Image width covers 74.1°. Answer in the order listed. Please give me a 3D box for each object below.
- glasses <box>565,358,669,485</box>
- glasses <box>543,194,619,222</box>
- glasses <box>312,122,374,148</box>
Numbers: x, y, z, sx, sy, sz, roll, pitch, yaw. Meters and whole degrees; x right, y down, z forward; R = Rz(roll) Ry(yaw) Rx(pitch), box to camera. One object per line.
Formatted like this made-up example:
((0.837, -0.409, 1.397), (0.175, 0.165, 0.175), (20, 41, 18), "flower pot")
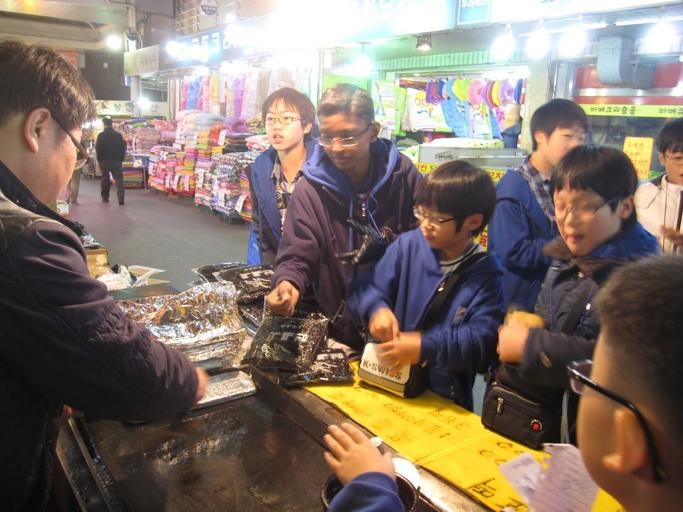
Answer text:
((0.422, 0.255, 0.727), (0.055, 0.111, 0.199), (-1, 13, -7), "glasses")
((0.809, -0.160, 1.510), (0.203, 0.062, 0.193), (-9, 3, -28), "glasses")
((0.019, -0.537, 2.025), (0.232, 0.099, 0.108), (0, 13, -1), "glasses")
